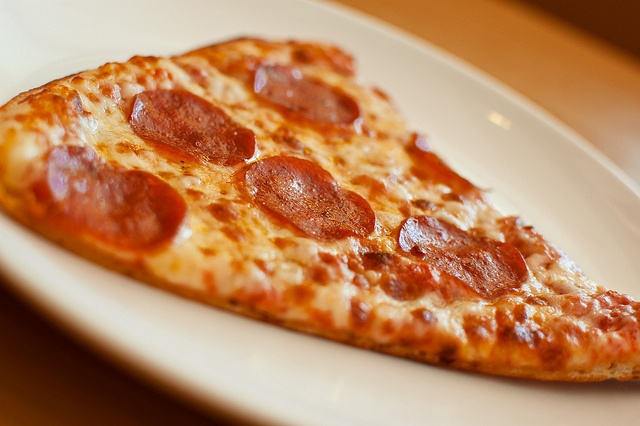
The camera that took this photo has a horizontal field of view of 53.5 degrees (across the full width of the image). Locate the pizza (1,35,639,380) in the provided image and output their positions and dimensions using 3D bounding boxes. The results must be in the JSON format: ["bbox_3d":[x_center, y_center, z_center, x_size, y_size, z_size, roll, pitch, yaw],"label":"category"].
[{"bbox_3d":[-0.012,0.025,1.025,0.796,0.099,0.623,36,41,29],"label":"pizza"}]
